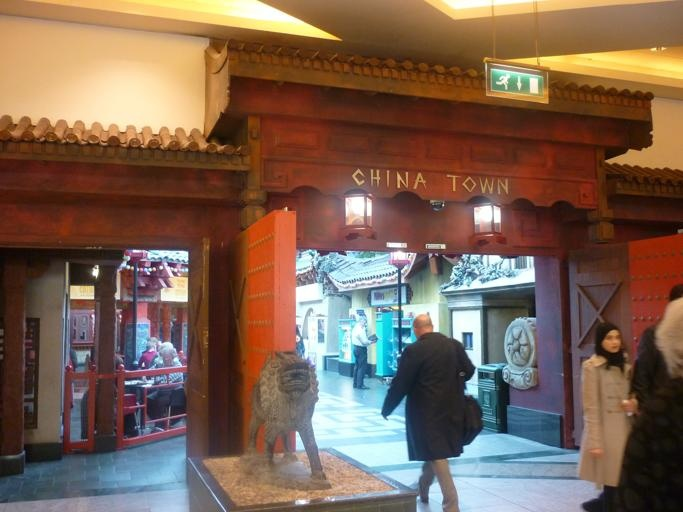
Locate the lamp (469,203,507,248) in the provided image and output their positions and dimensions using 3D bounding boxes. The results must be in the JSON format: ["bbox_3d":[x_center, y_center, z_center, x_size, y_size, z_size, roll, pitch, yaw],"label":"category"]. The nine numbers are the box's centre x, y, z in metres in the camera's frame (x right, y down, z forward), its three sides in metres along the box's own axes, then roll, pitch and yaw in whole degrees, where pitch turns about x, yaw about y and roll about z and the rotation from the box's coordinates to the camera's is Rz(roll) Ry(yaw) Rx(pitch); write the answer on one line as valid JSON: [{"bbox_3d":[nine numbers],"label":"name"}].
[{"bbox_3d":[2.157,-0.485,10.248,0.545,0.833,0.565,-1,-2,-2],"label":"lamp"}]

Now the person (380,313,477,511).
[{"bbox_3d":[1.017,1.747,7.521,0.951,2.159,0.474,-3,-3,11],"label":"person"}]

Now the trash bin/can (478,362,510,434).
[{"bbox_3d":[2.708,2.511,11.977,0.273,1.142,0.660,-1,-4,-33],"label":"trash bin/can"}]

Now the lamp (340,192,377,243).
[{"bbox_3d":[0.218,-0.606,9.343,0.463,0.671,0.451,-2,5,-16],"label":"lamp"}]

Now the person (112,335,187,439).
[{"bbox_3d":[-3.411,2.409,12.161,1.151,1.549,2.361,-2,-3,-14],"label":"person"}]
